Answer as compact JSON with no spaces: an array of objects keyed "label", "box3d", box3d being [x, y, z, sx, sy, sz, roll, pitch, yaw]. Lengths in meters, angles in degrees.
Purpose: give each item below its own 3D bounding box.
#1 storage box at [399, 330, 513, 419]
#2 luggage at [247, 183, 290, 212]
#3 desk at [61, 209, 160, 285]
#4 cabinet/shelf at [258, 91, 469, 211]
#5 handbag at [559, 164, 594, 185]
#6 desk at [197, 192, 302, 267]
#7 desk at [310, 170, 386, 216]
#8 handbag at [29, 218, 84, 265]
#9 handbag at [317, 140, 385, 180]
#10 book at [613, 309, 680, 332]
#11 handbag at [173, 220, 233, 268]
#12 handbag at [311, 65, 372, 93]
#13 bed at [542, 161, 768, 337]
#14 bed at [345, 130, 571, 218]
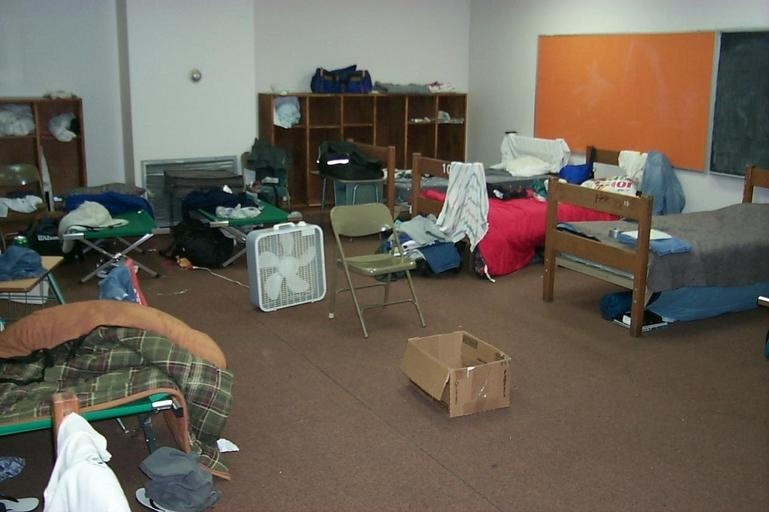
[{"label":"storage box","box3d":[0.511,0.817,4.181,0.599,0.303,0.623,-6,16,-22]},{"label":"luggage","box3d":[-1.497,-0.797,8.021,0.300,0.128,0.395,-8,25,-41]},{"label":"desk","box3d":[-2.779,-0.082,6.205,0.852,0.609,1.616,-11,17,-26]},{"label":"cabinet/shelf","box3d":[-0.434,-1.427,8.157,2.270,1.144,0.501,-3,7,-21]},{"label":"handbag","box3d":[2.371,-1.024,7.473,0.361,0.349,0.153,-6,-18,16]},{"label":"desk","box3d":[-1.484,-0.344,6.626,0.795,0.327,1.137,-6,17,-26]},{"label":"desk","box3d":[-0.397,-0.925,7.718,0.605,0.551,0.742,-3,13,-20]},{"label":"handbag","box3d":[-3.571,-0.188,6.525,0.524,0.185,0.528,8,19,14]},{"label":"handbag","box3d":[-0.467,-1.216,7.802,0.570,0.290,0.752,-2,10,-26]},{"label":"book","box3d":[2.231,0.539,5.157,0.515,0.154,0.276,-3,15,1]},{"label":"handbag","box3d":[-2.025,-0.157,6.571,0.575,0.205,0.454,29,31,35]},{"label":"handbag","box3d":[-0.606,-2.470,8.512,0.862,0.387,0.152,-9,17,-20]},{"label":"bed","box3d":[2.422,-0.186,5.809,2.037,1.227,1.086,-12,20,-32]},{"label":"bed","box3d":[1.150,-0.898,7.440,2.112,1.002,1.358,-5,17,-24]}]
